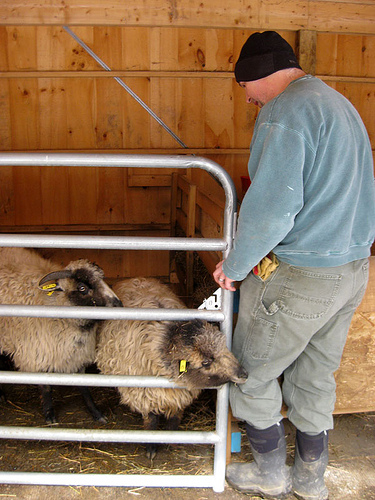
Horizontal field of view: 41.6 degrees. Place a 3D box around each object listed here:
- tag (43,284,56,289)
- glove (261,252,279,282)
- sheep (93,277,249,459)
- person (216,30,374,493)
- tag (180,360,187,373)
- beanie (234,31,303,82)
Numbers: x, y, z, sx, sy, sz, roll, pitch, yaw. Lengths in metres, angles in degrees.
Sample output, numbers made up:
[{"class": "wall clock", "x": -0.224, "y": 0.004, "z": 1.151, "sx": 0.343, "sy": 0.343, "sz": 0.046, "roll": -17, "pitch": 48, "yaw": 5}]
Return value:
[{"class": "tag", "x": -0.768, "y": 0.201, "z": 2.725, "sx": 0.016, "sy": 0.030, "sz": 0.084, "roll": 13, "pitch": 19, "yaw": 32}, {"class": "glove", "x": 0.328, "y": 0.068, "z": 2.014, "sx": 0.037, "sy": 0.091, "sz": 0.095, "roll": 25, "pitch": 14, "yaw": -10}, {"class": "sheep", "x": -0.143, "y": 0.631, "z": 2.784, "sx": 0.610, "sy": 0.667, "sz": 1.207, "roll": -25, "pitch": 31, "yaw": -39}, {"class": "person", "x": 0.462, "y": 0.240, "z": 2.104, "sx": 0.635, "sy": 1.881, "sz": 0.345, "roll": 3, "pitch": 17, "yaw": 3}, {"class": "tag", "x": -0.019, "y": 0.544, "z": 2.307, "sx": 0.031, "sy": 0.086, "sz": 0.057, "roll": 2, "pitch": 17, "yaw": 0}, {"class": "beanie", "x": 0.294, "y": -0.833, "z": 2.092, "sx": 0.336, "sy": 0.208, "sz": 0.238, "roll": 2, "pitch": 20, "yaw": 10}]
